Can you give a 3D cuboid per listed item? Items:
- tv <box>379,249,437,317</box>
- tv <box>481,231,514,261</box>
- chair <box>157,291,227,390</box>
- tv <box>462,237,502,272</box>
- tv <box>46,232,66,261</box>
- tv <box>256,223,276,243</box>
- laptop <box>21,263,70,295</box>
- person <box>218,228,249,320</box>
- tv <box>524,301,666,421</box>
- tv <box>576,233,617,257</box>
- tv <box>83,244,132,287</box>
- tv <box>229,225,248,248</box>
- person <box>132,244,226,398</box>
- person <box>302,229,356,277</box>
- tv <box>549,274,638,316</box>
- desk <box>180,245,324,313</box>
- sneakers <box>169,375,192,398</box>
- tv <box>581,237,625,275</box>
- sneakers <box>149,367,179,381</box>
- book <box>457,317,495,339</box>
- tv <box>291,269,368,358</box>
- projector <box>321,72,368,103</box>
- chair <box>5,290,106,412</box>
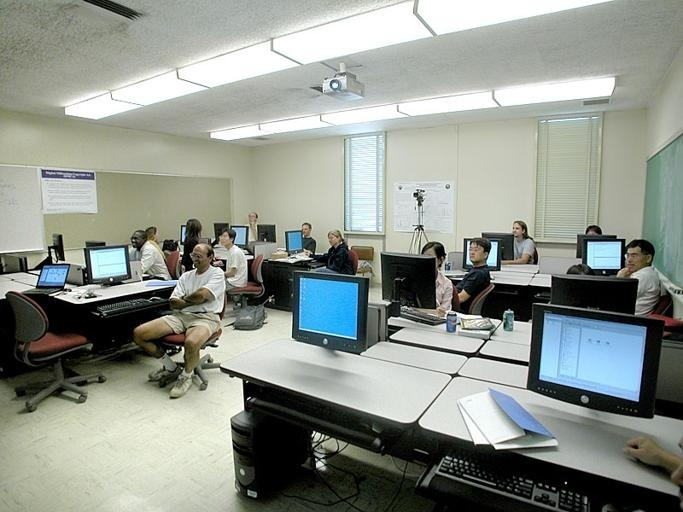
[{"bbox_3d":[0.482,0.202,3.739,0.541,0.428,0.181,6,14,42],"label":"tv"},{"bbox_3d":[1.945,-0.111,5.820,0.388,0.364,0.131,1,2,-5],"label":"tv"},{"bbox_3d":[-1.691,0.839,4.791,0.853,0.975,0.750,1,-3,23],"label":"chair"},{"bbox_3d":[1.838,-0.019,6.068,0.472,0.416,0.245,1,-7,28],"label":"tv"},{"bbox_3d":[-3.868,-0.124,6.307,0.394,0.359,0.159,9,14,42],"label":"tv"},{"bbox_3d":[-1.331,-0.388,8.186,0.370,0.350,0.129,4,10,22],"label":"tv"},{"bbox_3d":[-3.043,0.237,4.866,0.361,0.245,0.300,1,2,-5],"label":"laptop"},{"bbox_3d":[-1.556,0.155,6.277,0.592,0.982,0.484,1,7,-22],"label":"person"},{"bbox_3d":[1.417,0.622,2.628,0.732,0.667,0.278,4,2,32],"label":"tv"},{"bbox_3d":[2.948,-0.117,5.414,0.300,0.201,0.156,2,6,44],"label":"tv"},{"bbox_3d":[-2.588,0.094,5.129,0.242,0.433,0.465,3,8,39],"label":"tv"},{"bbox_3d":[-1.655,-0.303,7.528,0.428,0.386,0.043,0,2,30],"label":"tv"},{"bbox_3d":[-1.534,0.586,4.518,0.616,1.374,0.652,2,8,23],"label":"person"},{"bbox_3d":[-0.170,0.074,6.748,0.732,0.835,0.509,-1,-9,5],"label":"person"},{"bbox_3d":[1.688,0.266,3.141,0.284,0.223,0.092,3,-7,28],"label":"tv"},{"bbox_3d":[-1.157,0.494,6.809,1.406,0.854,0.804,7,12,32],"label":"desk"},{"bbox_3d":[-1.499,1.209,4.357,0.109,0.113,0.291,5,7,5],"label":"sneakers"},{"bbox_3d":[2.926,0.003,5.222,0.454,0.429,0.228,0,0,21],"label":"tv"},{"bbox_3d":[-1.765,1.163,4.620,0.321,0.127,0.114,2,0,-9],"label":"sneakers"},{"bbox_3d":[1.048,0.553,3.632,0.174,0.055,0.193,3,10,28],"label":"book"},{"bbox_3d":[-0.029,0.376,3.239,0.623,0.511,0.244,4,4,36],"label":"tv"},{"bbox_3d":[0.021,-1.758,4.710,0.286,0.301,0.434,6,10,44],"label":"projector"},{"bbox_3d":[-2.678,0.801,4.268,0.713,1.056,0.634,-1,7,0],"label":"chair"}]
